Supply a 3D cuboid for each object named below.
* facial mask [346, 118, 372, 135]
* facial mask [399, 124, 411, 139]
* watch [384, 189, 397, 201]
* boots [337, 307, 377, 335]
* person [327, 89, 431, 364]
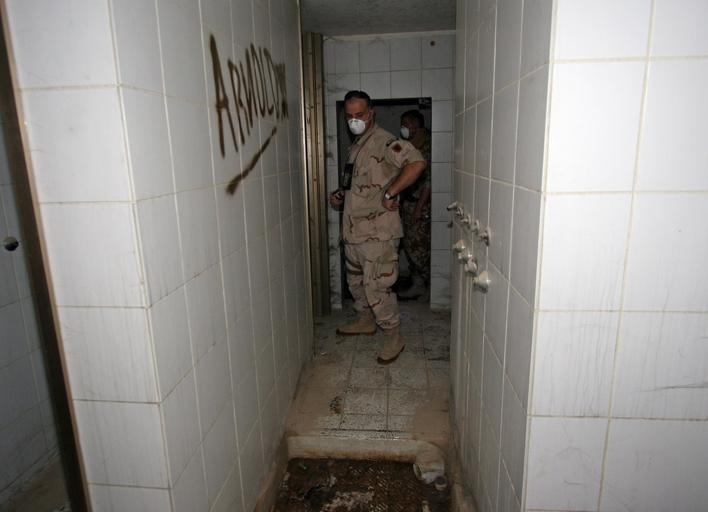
[{"bbox_3d":[0.015,-0.873,3.419,0.122,0.111,0.172,-2,14,1],"label":"facial mask"},{"bbox_3d":[0.435,-1.108,4.479,0.083,0.093,0.100,7,9,33],"label":"facial mask"},{"bbox_3d":[0.229,-0.407,3.386,0.051,0.040,0.072,12,10,33],"label":"watch"},{"bbox_3d":[0.013,0.522,4.047,0.346,0.237,0.153,2,5,1],"label":"boots"},{"bbox_3d":[0.152,-0.177,3.583,0.384,1.712,0.650,-10,16,-30],"label":"person"}]
